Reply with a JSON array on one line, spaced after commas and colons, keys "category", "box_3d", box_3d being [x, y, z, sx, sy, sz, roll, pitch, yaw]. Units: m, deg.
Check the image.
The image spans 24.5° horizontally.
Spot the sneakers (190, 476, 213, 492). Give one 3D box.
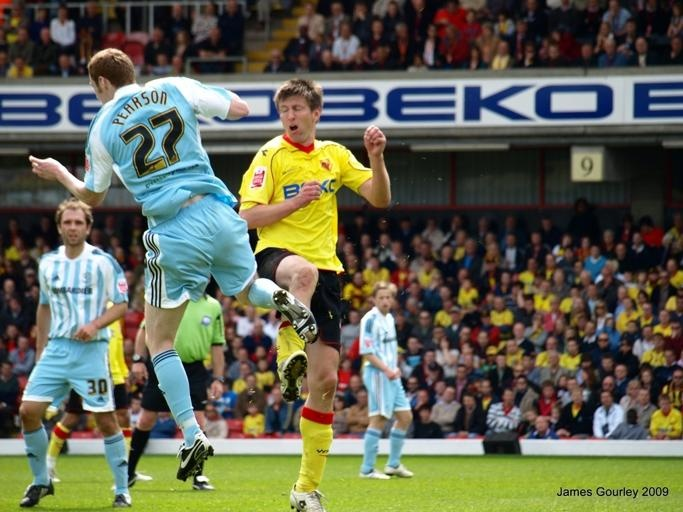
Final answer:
[{"category": "sneakers", "box_3d": [-1.726, 2.817, 19.451, 0.132, 0.116, 0.270, 3, -9, -38]}]

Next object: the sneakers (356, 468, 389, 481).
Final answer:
[{"category": "sneakers", "box_3d": [0.400, 2.816, 20.205, 0.386, 0.155, 0.130, 2, -6, 7]}]

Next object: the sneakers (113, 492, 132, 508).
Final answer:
[{"category": "sneakers", "box_3d": [-2.530, 2.815, 18.095, 0.205, 0.156, 0.151, -7, 1, -9]}]

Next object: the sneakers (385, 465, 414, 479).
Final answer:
[{"category": "sneakers", "box_3d": [0.723, 2.805, 20.383, 0.398, 0.184, 0.145, 5, -2, -3]}]
